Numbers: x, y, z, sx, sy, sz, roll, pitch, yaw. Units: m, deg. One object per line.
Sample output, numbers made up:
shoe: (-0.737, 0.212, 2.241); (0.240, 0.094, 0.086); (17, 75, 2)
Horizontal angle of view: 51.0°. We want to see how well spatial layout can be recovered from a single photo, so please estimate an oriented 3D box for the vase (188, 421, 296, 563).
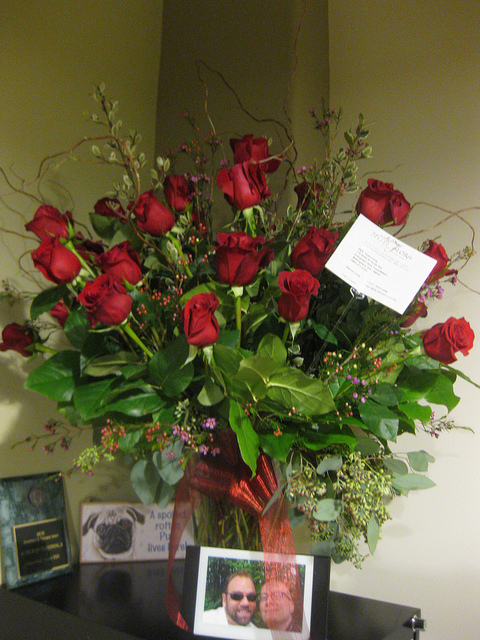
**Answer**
vase: (-0.011, 0.232, 0.665); (0.152, 0.196, 0.158); (-1, -8, 11)
